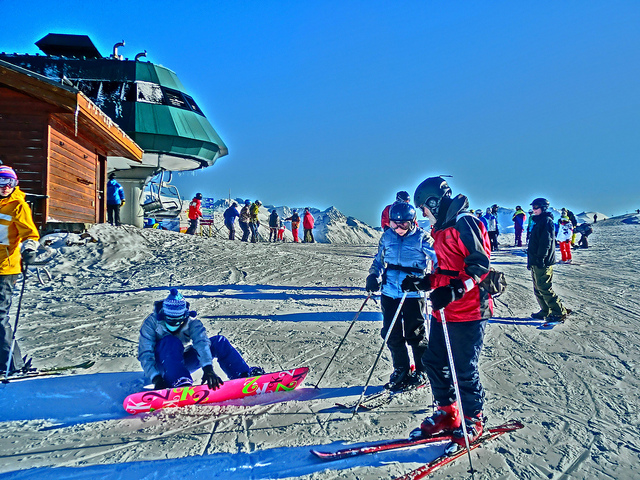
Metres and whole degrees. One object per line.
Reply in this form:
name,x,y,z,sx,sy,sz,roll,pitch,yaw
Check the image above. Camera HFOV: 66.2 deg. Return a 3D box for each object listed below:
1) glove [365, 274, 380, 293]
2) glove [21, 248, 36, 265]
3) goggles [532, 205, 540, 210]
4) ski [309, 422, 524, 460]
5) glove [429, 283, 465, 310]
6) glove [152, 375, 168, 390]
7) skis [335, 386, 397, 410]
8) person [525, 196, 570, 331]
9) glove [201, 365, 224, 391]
glove,0.732,0.598,6.745,0.211,0.203,0.092,1,-15,-7
glove,-4.062,0.236,6.836,0.165,0.259,0.166,13,20,39
goggles,4.112,-0.612,9.296,0.107,0.102,0.098,5,16,19
ski,1.132,2.299,5.567,2.957,0.154,0.289,-4,7,-6
glove,1.410,0.630,5.405,0.364,0.309,0.194,1,16,2
glove,-2.038,1.836,6.281,0.147,0.187,0.178,-12,19,-38
skis,0.629,2.111,6.419,0.977,0.114,0.258,2,9,-44
person,4.358,0.473,9.361,0.622,2.458,0.979,-6,18,-19
glove,-1.348,1.759,6.151,0.284,0.355,0.318,-3,15,-13
